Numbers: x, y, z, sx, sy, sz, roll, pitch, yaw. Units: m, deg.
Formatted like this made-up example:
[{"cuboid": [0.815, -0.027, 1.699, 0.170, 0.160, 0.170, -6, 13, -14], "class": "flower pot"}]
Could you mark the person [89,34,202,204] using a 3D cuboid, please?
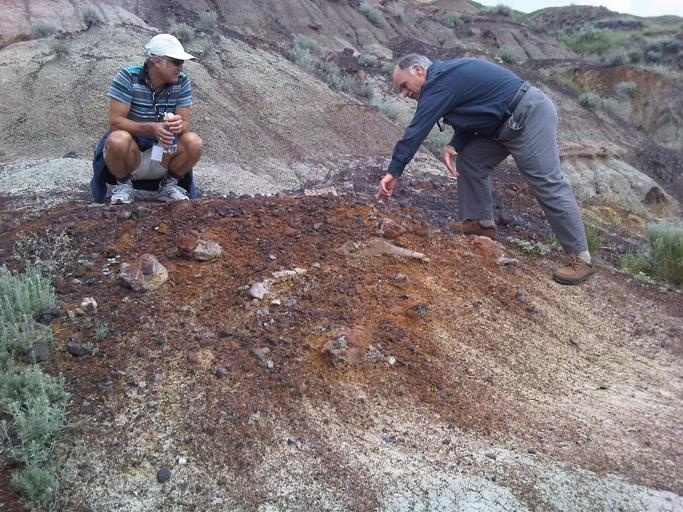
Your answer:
[{"cuboid": [-1.884, -1.161, 5.437, 1.022, 1.470, 0.582, 0, 31, -26], "class": "person"}]

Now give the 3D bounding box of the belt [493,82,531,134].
[{"cuboid": [1.641, -1.340, 5.120, 0.125, 0.420, 0.309, 32, 26, -3], "class": "belt"}]

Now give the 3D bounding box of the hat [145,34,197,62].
[{"cuboid": [-1.575, -1.918, 5.123, 0.399, 0.153, 0.277, 3, 34, -6], "class": "hat"}]

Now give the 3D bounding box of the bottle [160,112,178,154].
[{"cuboid": [-1.659, -1.172, 5.376, 0.142, 0.427, 0.249, 7, 29, -15], "class": "bottle"}]

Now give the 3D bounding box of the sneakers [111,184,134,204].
[{"cuboid": [-2.162, -0.602, 5.467, 0.144, 0.157, 0.330, -2, 11, -14], "class": "sneakers"}]
